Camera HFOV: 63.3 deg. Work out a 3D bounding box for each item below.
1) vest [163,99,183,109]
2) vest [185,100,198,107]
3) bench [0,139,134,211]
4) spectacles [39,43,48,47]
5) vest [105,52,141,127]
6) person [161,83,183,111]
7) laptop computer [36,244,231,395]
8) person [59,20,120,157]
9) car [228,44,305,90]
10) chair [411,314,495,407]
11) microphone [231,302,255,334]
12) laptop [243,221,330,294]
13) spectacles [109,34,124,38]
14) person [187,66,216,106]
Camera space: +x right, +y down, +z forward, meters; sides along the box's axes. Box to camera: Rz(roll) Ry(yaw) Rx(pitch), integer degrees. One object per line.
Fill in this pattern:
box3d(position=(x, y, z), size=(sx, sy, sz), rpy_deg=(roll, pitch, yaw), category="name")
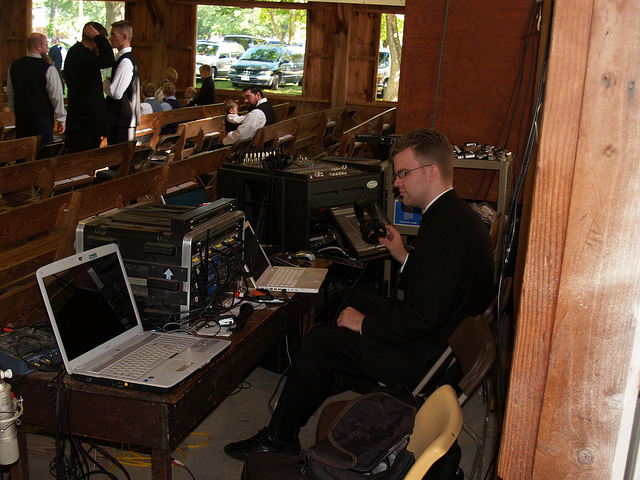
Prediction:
box3d(position=(-2.505, -2.265, 8.894), size=(0.328, 0.245, 0.180), rpy_deg=(-1, -3, 2), category="vest")
box3d(position=(-2.556, -2.714, 10.277), size=(0.162, 0.111, 0.541), rpy_deg=(-8, 19, -25), category="vest")
box3d(position=(-2.087, -0.525, 4.281), size=(0.320, 0.350, 0.827), rpy_deg=(32, 33, 27), category="bench")
box3d(position=(-3.420, -2.416, 6.451), size=(0.033, 0.035, 0.334), rpy_deg=(-5, 18, -17), category="spectacles")
box3d(position=(-2.337, -1.762, 6.123), size=(0.392, 0.839, 0.266), rpy_deg=(-7, 19, -21), category="vest")
box3d(position=(-2.542, -2.445, 8.804), size=(0.278, 0.407, 0.861), rpy_deg=(-4, 18, -13), category="person")
box3d(position=(-0.636, 0.257, 1.810), size=(0.555, 0.344, 0.507), rpy_deg=(10, 12, 27), category="laptop computer")
box3d(position=(-2.663, -1.748, 6.013), size=(0.708, 1.449, 0.410), rpy_deg=(-5, 18, -17), category="person")
box3d(position=(-1.180, -3.978, 11.826), size=(1.573, 0.743, 1.051), rpy_deg=(10, 23, 19), category="car")
box3d(position=(0.511, 0.469, 2.090), size=(0.264, 0.430, 0.265), rpy_deg=(5, 29, -3), category="chair")
box3d(position=(-0.316, 0.313, 2.127), size=(0.039, 0.042, 0.133), rpy_deg=(6, 29, 14), category="microphone")
box3d(position=(-0.203, 0.071, 2.622), size=(0.461, 0.265, 0.423), rpy_deg=(4, 12, 10), category="laptop")
box3d(position=(-2.252, -2.266, 5.768), size=(0.141, 0.028, 0.059), rpy_deg=(7, 19, 21), category="spectacles")
box3d(position=(-2.261, -2.991, 10.055), size=(0.317, 0.699, 0.622), rpy_deg=(-11, 21, -32), category="person")
